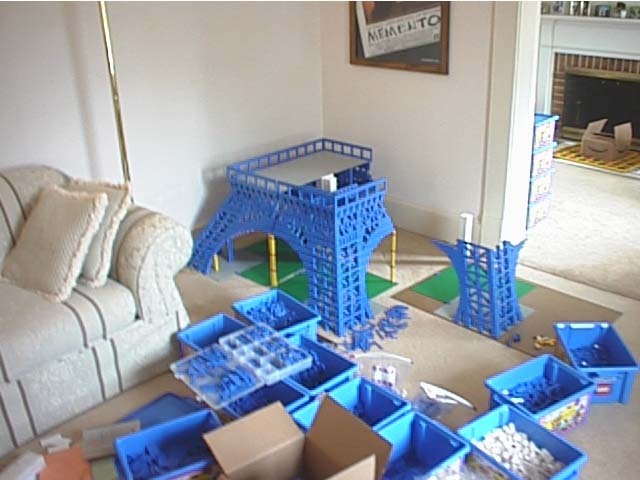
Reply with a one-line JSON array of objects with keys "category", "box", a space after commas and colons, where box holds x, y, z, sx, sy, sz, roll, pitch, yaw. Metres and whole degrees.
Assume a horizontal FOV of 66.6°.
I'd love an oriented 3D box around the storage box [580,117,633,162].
[{"category": "storage box", "box": [3.691, -1.213, 6.423, 0.613, 0.618, 0.573, -24, 31, -35]}]
